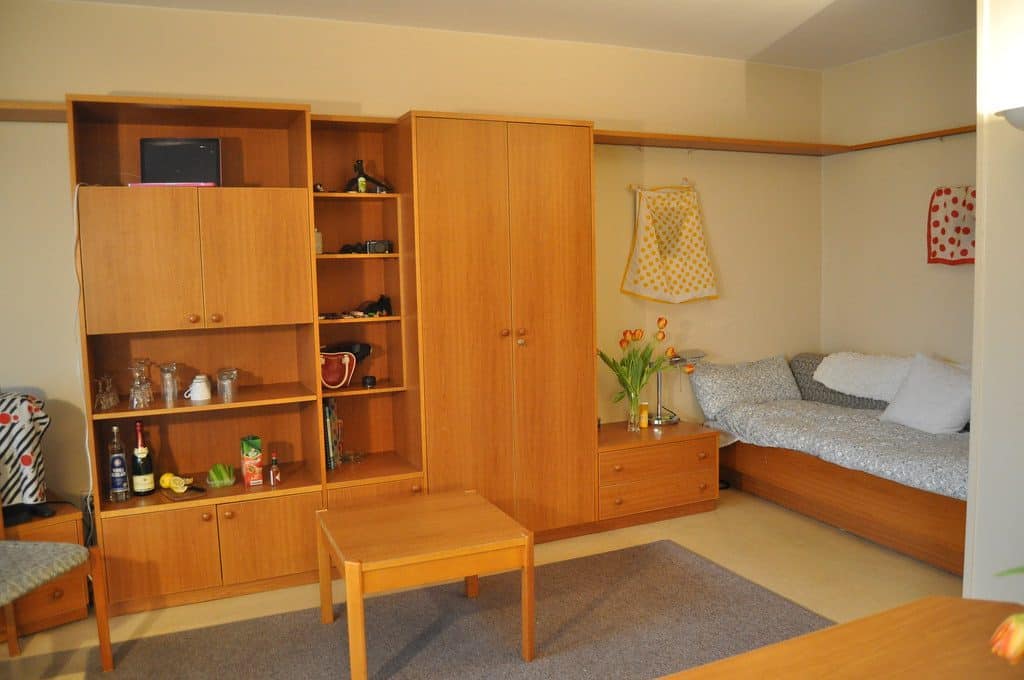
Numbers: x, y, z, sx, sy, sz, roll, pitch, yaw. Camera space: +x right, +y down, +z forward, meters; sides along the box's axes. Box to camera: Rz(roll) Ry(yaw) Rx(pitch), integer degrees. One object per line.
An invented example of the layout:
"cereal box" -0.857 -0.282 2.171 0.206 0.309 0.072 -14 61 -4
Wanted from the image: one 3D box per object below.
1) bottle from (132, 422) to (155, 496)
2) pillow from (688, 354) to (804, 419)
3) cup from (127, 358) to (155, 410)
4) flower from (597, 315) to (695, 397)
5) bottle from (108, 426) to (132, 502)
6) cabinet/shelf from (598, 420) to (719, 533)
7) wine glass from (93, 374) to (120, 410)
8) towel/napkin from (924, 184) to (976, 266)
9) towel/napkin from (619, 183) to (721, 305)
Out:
"bottle" -2.208 0.683 4.389 0.131 0.435 0.277 -8 8 -26
"pillow" 1.814 0.335 5.795 0.849 0.463 0.218 -10 -11 -21
"cup" -2.202 0.251 4.377 0.150 0.252 0.365 -8 8 -26
"flower" 1.000 0.154 5.471 0.787 0.627 0.491 -9 9 -35
"bottle" -2.335 0.709 4.363 0.129 0.411 0.295 -9 9 -28
"cabinet/shelf" 0.970 0.891 5.178 1.096 0.580 0.605 -2 3 -27
"wine glass" -2.366 0.301 4.298 0.082 0.182 0.219 0 1 7
"towel/napkin" 3.167 -0.827 5.359 0.068 0.575 0.351 -9 9 -31
"towel/napkin" 1.165 -0.731 5.612 1.005 0.961 0.122 -6 10 -22
